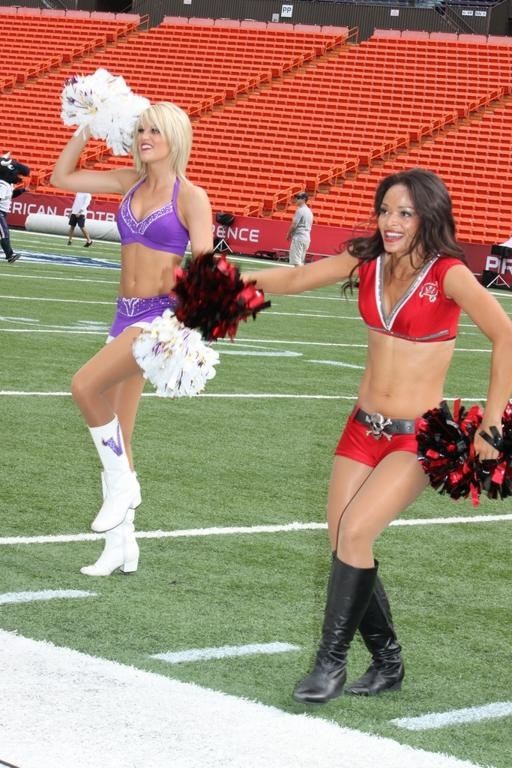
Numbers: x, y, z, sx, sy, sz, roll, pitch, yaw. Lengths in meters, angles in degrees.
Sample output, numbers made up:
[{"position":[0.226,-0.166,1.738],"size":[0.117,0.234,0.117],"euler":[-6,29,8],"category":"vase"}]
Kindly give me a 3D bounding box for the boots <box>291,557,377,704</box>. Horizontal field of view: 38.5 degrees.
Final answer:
[{"position":[0.209,0.620,1.875],"size":[0.139,0.363,0.258],"euler":[10,0,11],"category":"boots"}]

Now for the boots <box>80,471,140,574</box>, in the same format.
[{"position":[-0.540,0.590,2.821],"size":[0.211,0.357,0.183],"euler":[10,0,-7],"category":"boots"}]
